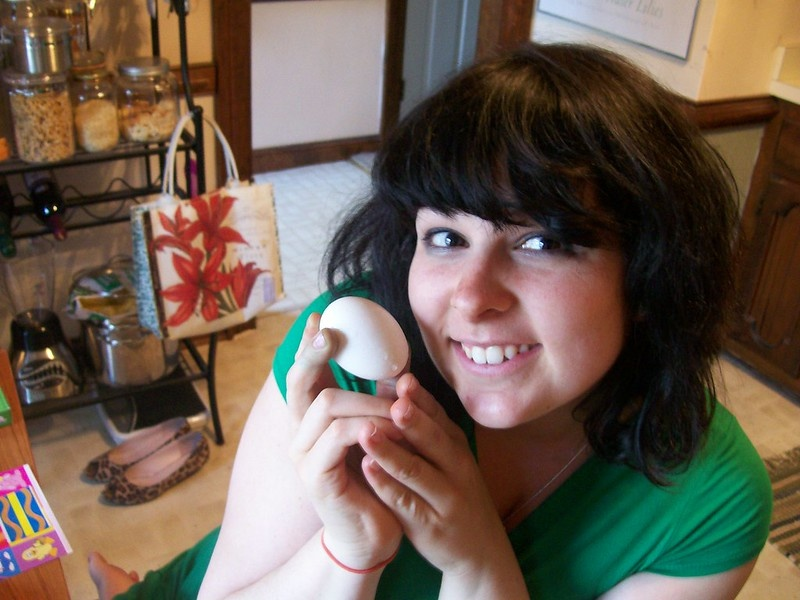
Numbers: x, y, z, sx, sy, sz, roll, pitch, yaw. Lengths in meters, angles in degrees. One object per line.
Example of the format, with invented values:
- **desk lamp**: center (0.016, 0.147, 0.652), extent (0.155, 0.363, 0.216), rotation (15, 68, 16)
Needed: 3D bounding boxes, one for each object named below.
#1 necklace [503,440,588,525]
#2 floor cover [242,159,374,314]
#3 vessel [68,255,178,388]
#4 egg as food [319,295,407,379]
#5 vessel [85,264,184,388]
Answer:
- **necklace**: center (0.245, 0.301, 1.054), extent (0.029, 0.169, 0.028), rotation (47, 7, 22)
- **floor cover**: center (-0.491, -0.370, 3.530), extent (0.795, 0.224, 0.904), rotation (-8, 51, -8)
- **vessel**: center (-0.854, 0.047, 2.124), extent (0.336, 0.395, 0.392), rotation (-18, 33, -38)
- **egg as food**: center (-0.040, 0.058, 0.936), extent (0.095, 0.099, 0.137), rotation (-17, 44, -23)
- **vessel**: center (-0.894, 0.071, 2.127), extent (0.303, 0.383, 0.340), rotation (-8, 14, -22)
